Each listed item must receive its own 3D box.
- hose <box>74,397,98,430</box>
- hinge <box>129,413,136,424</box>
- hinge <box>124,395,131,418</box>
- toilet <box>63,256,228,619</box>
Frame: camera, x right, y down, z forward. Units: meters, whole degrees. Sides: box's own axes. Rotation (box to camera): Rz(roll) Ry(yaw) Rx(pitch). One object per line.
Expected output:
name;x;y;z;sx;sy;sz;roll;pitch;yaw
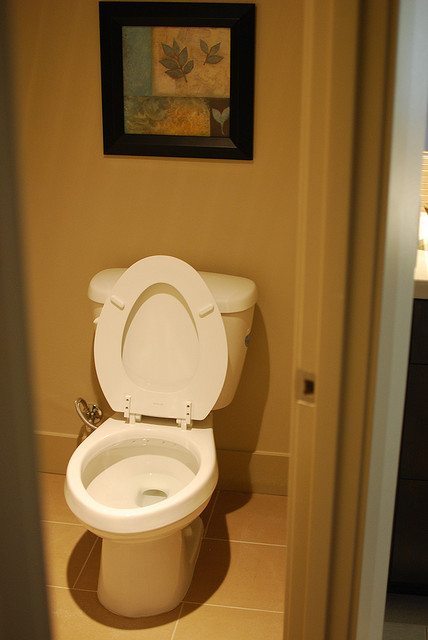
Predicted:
hose;-0.391;0.297;1.695;0.025;0.117;0.078;-18;8;11
hinge;-0.218;0.264;1.478;0.017;0.041;0.020;-1;1;-6
hinge;-0.232;0.230;1.478;0.018;0.060;0.008;3;13;6
toilet;-0.157;0.282;1.331;0.365;0.826;0.495;2;13;1
